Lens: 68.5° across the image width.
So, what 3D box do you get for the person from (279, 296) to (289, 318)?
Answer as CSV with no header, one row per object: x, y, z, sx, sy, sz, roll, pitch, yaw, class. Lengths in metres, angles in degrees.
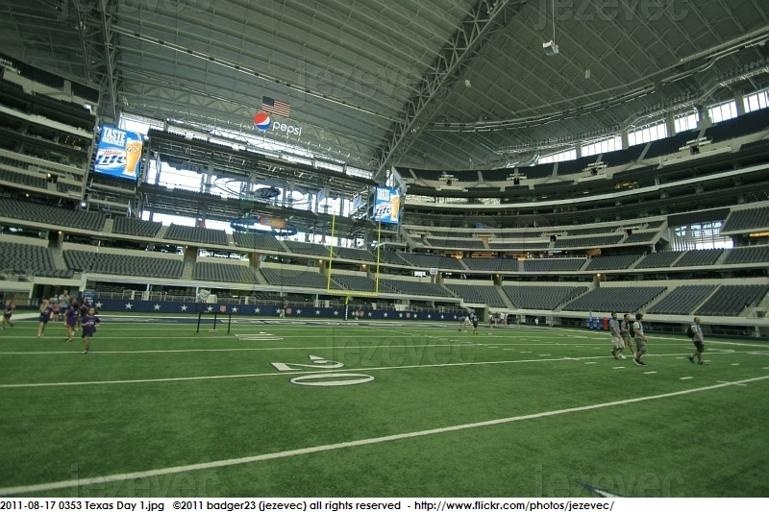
-9.648,5.034,54.476,0.792,1.663,1.350,1,-6,-10,person
